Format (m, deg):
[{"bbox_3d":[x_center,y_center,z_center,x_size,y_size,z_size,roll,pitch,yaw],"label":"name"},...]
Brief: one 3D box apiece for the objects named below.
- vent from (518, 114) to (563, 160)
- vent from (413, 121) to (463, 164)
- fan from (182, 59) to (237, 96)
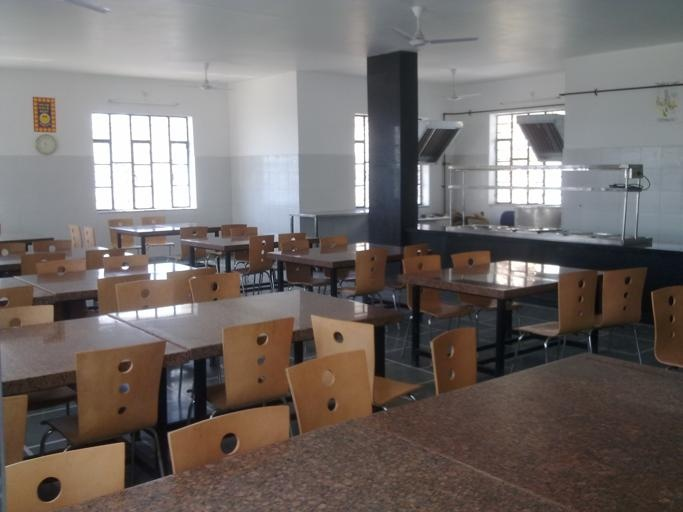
[{"bbox_3d":[3.348,-1.967,8.533,0.689,0.699,1.188,0,6,24],"label":"vent"},{"bbox_3d":[1.494,-1.838,8.206,0.591,0.648,1.168,2,7,42],"label":"vent"},{"bbox_3d":[-2.489,-3.424,10.264,0.841,0.585,0.855,0,3,29],"label":"fan"}]
